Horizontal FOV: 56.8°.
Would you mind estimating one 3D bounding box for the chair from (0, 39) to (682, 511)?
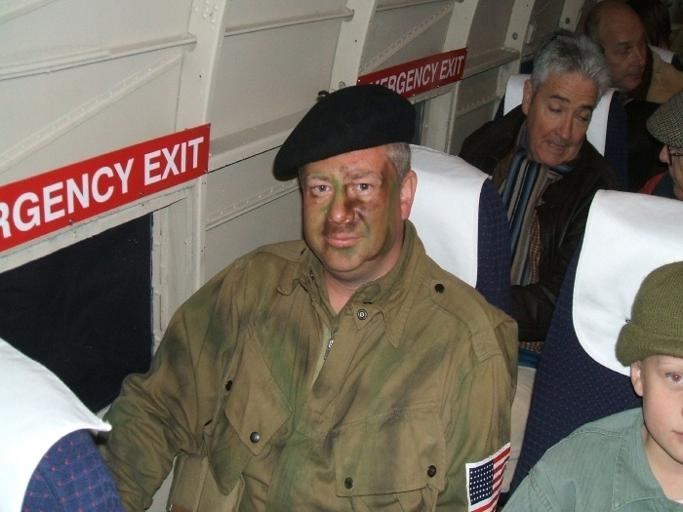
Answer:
[{"bbox_3d":[0.181,-0.106,3.411,1.419,1.957,2.661,22,20,38],"label":"chair"}]

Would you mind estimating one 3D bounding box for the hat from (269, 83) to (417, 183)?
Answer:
[{"bbox_3d":[0.034,-0.468,2.322,0.411,0.189,0.304,-13,-2,-26],"label":"hat"}]
